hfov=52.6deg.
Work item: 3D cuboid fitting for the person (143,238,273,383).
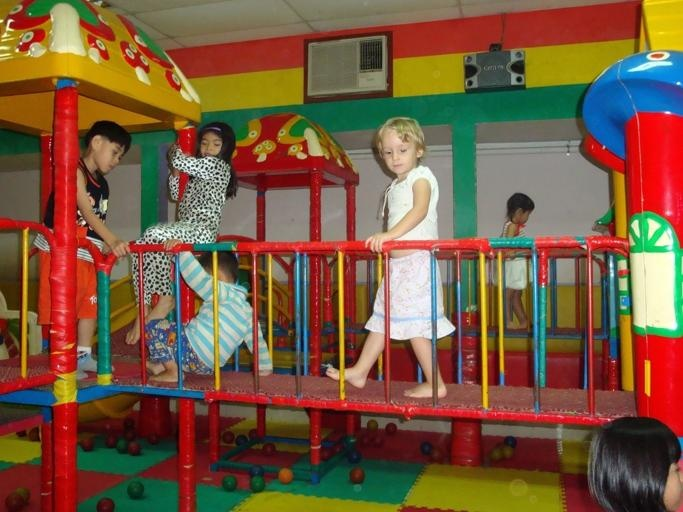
[{"bbox_3d":[-0.832,0.373,4.380,0.779,0.817,0.489,-1,4,-18],"label":"person"}]

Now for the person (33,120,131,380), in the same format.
[{"bbox_3d":[-1.658,-0.074,4.473,0.603,1.678,0.650,-2,4,-21],"label":"person"}]

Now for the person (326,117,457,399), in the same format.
[{"bbox_3d":[0.341,-0.023,4.062,0.613,1.625,0.598,0,3,6],"label":"person"}]
